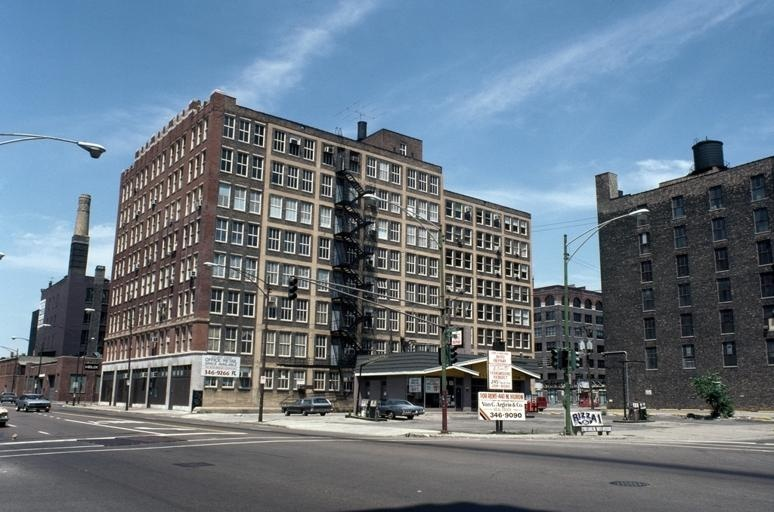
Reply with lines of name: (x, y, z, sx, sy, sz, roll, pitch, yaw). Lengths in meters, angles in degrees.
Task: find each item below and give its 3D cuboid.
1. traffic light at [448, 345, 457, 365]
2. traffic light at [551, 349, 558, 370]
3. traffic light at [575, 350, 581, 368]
traffic light: (4.227, 6.395, 45.879, 0.404, 1.186, 1.112, -4, -17, 14)
traffic light: (10.501, 6.212, 43.901, 0.377, 1.136, 1.466, -3, -17, 10)
traffic light: (11.955, 6.392, 44.122, 0.356, 0.961, 1.686, -4, -17, 14)
